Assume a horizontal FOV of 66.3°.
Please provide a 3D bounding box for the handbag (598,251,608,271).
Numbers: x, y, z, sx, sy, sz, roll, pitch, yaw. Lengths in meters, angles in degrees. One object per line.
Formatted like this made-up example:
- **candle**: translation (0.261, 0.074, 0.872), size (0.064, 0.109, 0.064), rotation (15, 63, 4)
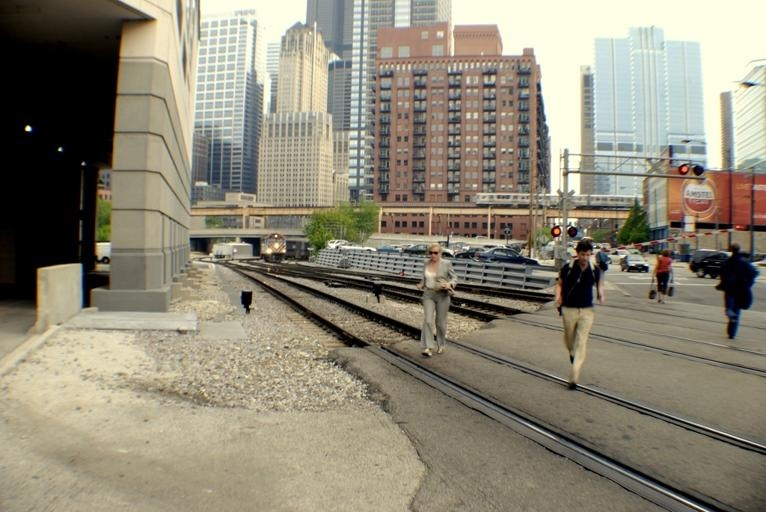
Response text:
- **handbag**: translation (8.394, 0.187, 22.449), size (0.268, 0.788, 0.519), rotation (3, 7, 12)

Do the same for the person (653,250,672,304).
- **person**: translation (10.340, 0.696, 21.705), size (0.562, 2.036, 1.411), rotation (5, 10, 26)

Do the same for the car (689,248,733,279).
- **car**: translation (17.421, 0.443, 31.397), size (2.731, 1.600, 1.674), rotation (-1, 0, 4)

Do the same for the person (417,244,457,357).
- **person**: translation (1.124, 0.935, 12.310), size (0.731, 2.415, 0.625), rotation (2, 9, 3)

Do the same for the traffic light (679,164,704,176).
- **traffic light**: translation (13.545, -3.755, 25.858), size (0.923, 0.537, 1.701), rotation (8, 12, 36)

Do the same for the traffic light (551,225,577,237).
- **traffic light**: translation (8.153, -1.090, 26.120), size (0.923, 0.380, 0.980), rotation (0, 5, 6)

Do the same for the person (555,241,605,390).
- **person**: translation (3.450, 1.015, 10.467), size (0.709, 2.589, 0.727), rotation (3, 9, 13)

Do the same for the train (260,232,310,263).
- **train**: translation (-14.422, -0.921, 79.418), size (3.493, 3.763, 12.926), rotation (1, 4, -7)

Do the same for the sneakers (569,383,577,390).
- **sneakers**: translation (3.361, 2.310, 10.369), size (0.110, 0.111, 0.115), rotation (13, -42, -29)

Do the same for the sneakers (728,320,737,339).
- **sneakers**: translation (8.420, 1.776, 14.146), size (0.206, 0.449, 0.141), rotation (29, -27, -26)
